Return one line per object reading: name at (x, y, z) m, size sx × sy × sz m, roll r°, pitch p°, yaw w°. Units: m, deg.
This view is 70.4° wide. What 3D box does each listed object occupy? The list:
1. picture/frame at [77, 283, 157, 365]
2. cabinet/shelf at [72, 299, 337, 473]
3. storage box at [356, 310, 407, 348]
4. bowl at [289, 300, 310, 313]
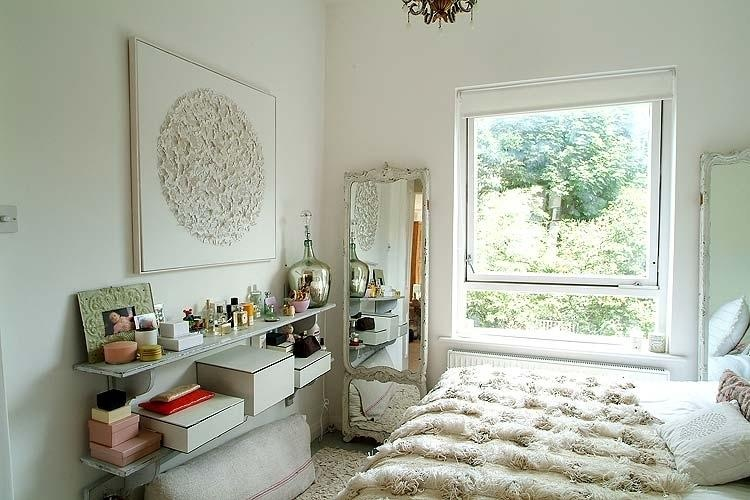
picture/frame at (-1.485, 0.427, 3.010) m, size 0.038 × 0.500 × 0.467 m, roll -17°, pitch -10°, yaw 36°
cabinet/shelf at (-1.007, 0.843, 3.393) m, size 0.424 × 0.453 × 1.548 m, roll -1°, pitch 4°, yaw 39°
storage box at (0.051, 0.642, 4.457) m, size 0.298 × 0.194 × 0.293 m, roll 0°, pitch 0°, yaw 38°
bowl at (-0.565, 0.417, 3.967) m, size 0.103 × 0.067 × 0.103 m, roll -2°, pitch -1°, yaw 0°
